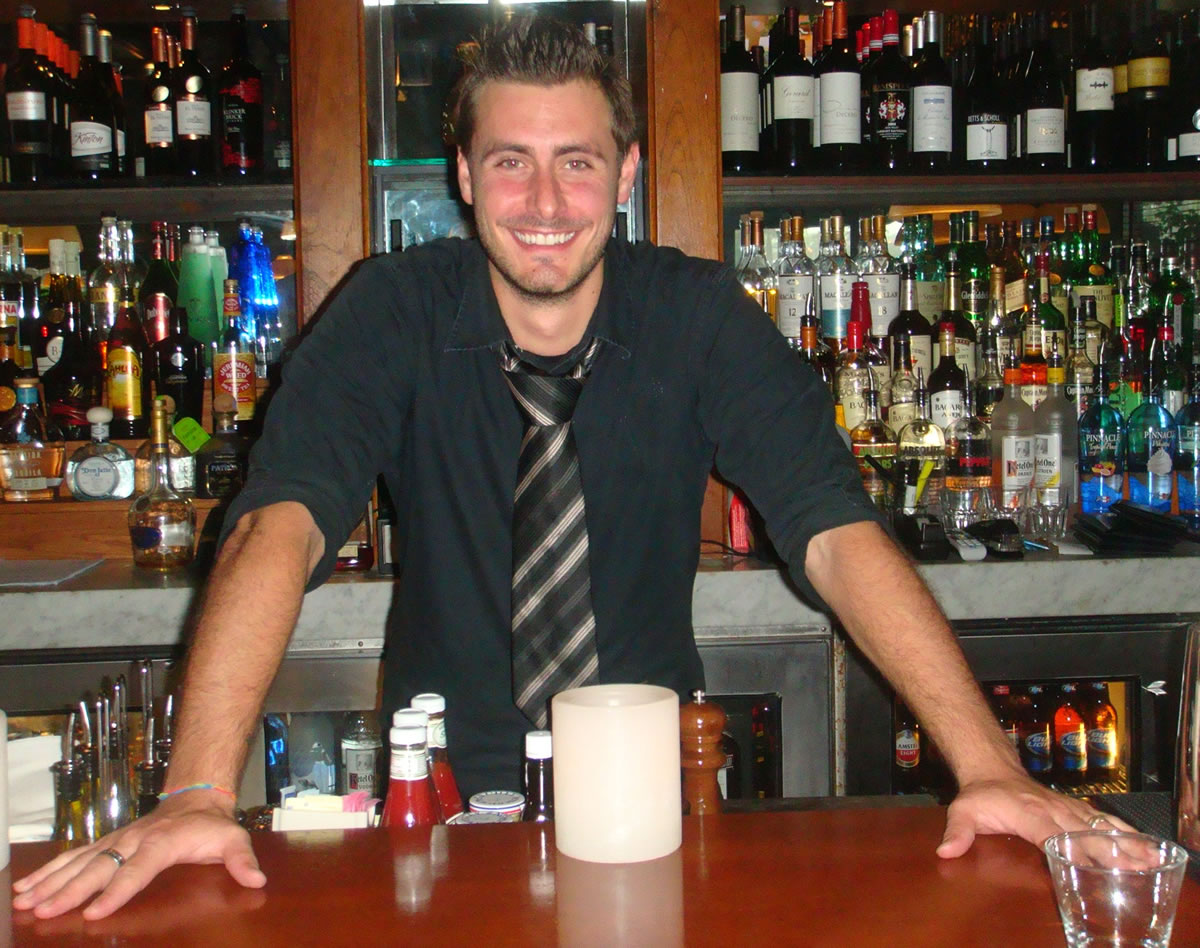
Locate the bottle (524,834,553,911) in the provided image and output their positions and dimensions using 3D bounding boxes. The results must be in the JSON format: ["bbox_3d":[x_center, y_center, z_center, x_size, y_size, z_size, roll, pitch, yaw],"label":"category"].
[{"bbox_3d":[-0.052,0.350,1.120,0.023,0.021,0.090,-17,40,6],"label":"bottle"}]

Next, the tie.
[{"bbox_3d":[-0.064,0.074,1.719,0.129,0.509,0.174,-1,3,-3],"label":"tie"}]

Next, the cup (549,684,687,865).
[{"bbox_3d":[0.017,0.275,1.192,0.133,0.151,0.135,-1,17,0],"label":"cup"}]

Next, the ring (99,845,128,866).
[{"bbox_3d":[-0.427,0.335,1.111,0.016,0.016,0.011,1,25,20],"label":"ring"}]

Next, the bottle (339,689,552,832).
[{"bbox_3d":[-0.135,0.293,1.289,0.165,0.152,0.177,-1,4,-4],"label":"bottle"}]
